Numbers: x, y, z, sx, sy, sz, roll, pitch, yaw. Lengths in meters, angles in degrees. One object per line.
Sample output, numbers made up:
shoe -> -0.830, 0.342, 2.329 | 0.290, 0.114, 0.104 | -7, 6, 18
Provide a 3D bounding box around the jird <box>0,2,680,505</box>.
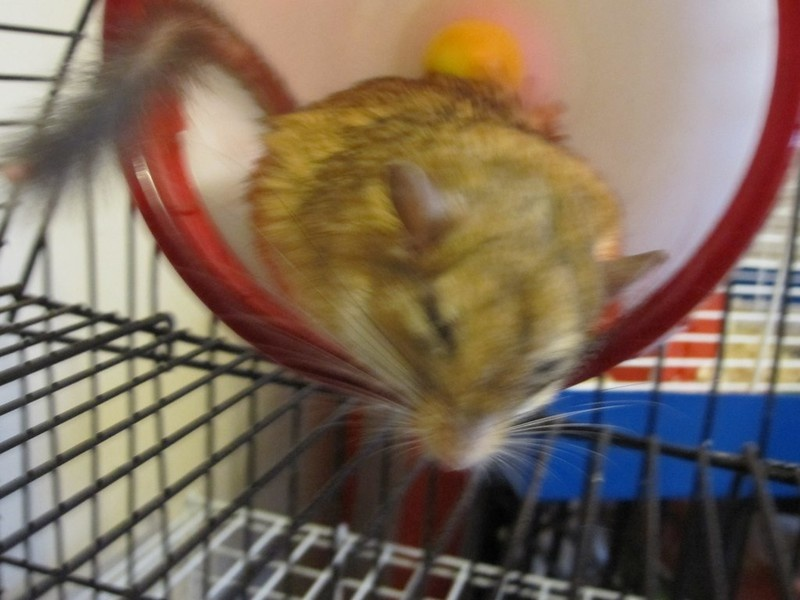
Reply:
jird -> -0.052, -0.079, 1.066 | 0.623, 0.417, 0.339 | 41, -5, 10
